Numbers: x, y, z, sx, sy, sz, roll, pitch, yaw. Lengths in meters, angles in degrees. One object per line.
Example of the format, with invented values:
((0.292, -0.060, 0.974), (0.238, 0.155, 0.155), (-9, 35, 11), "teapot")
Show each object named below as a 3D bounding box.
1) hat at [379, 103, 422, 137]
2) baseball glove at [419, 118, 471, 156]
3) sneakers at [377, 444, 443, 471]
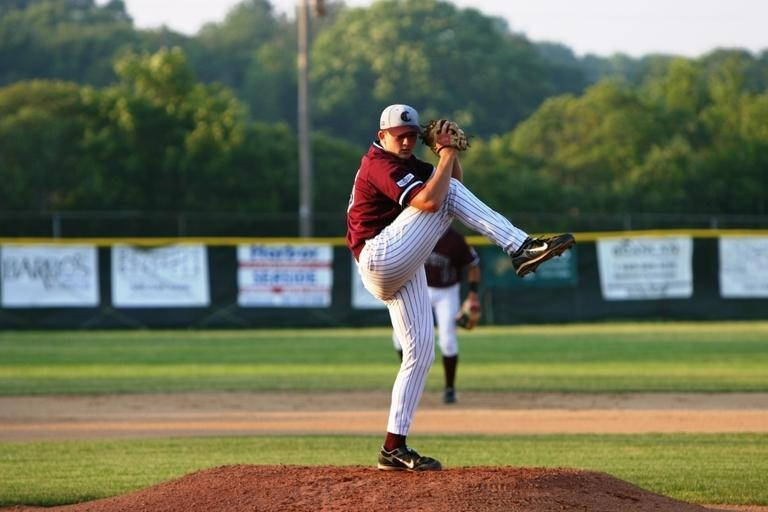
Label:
((0.156, -1.356, 18.212), (0.398, 0.285, 0.218), (-1, -1, 1), "hat")
((0.601, -1.169, 18.204), (0.419, 0.319, 0.190), (16, -10, 3), "baseball glove")
((0.267, 1.982, 18.278), (0.651, 0.244, 0.240), (0, -4, 2), "sneakers")
